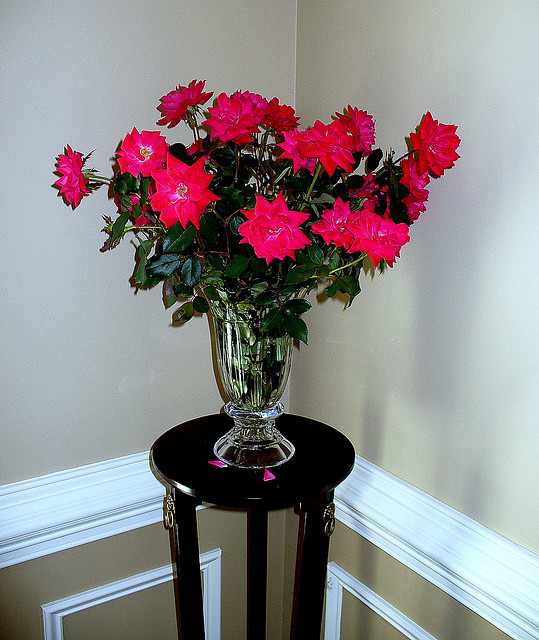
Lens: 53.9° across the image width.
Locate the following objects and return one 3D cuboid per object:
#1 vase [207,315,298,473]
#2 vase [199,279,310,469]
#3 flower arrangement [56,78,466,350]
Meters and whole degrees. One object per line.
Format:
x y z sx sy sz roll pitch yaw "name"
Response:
-0.002 0.116 0.927 0.104 0.223 0.097 -20 18 -41 "vase"
-0.006 0.079 0.914 0.135 0.303 0.146 11 14 35 "vase"
-0.060 -0.117 0.899 0.426 0.434 0.487 -17 20 -17 "flower arrangement"
